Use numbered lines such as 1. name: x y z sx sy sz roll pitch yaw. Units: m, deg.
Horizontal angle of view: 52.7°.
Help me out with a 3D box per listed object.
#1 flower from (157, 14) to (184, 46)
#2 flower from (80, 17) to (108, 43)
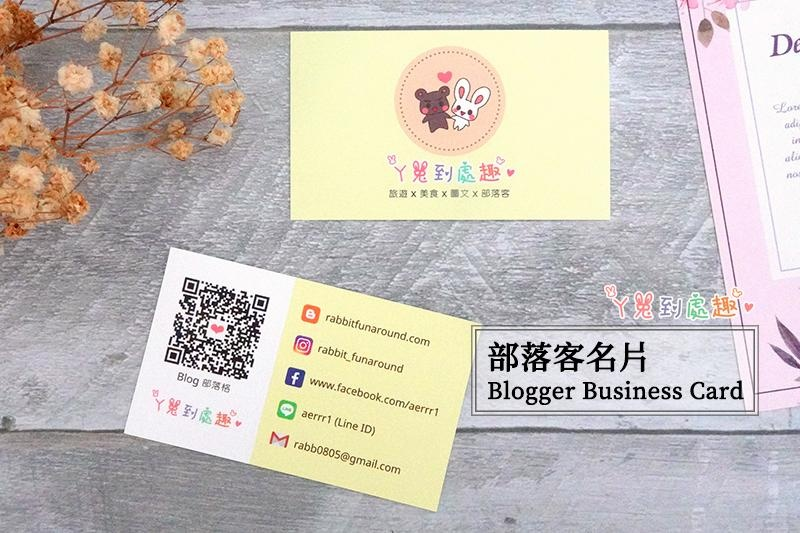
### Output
1. flower: -0.368 -0.383 1.299 0.040 0.055 0.029 0 2 -15
2. flower: -0.505 -0.392 1.330 0.034 0.041 0.031 -1 2 -34
